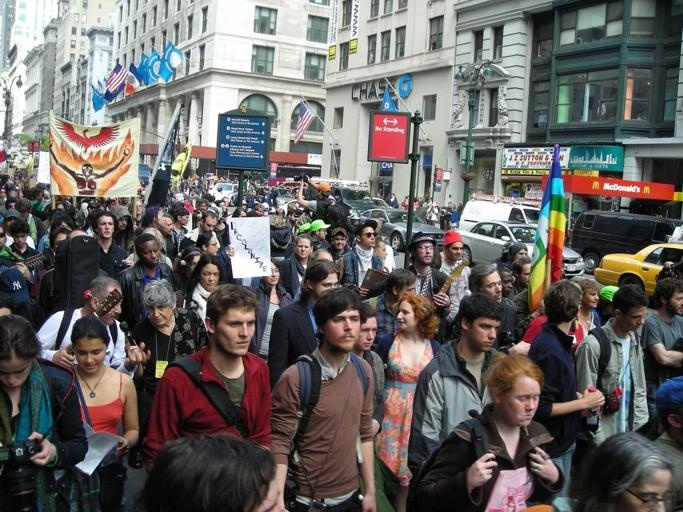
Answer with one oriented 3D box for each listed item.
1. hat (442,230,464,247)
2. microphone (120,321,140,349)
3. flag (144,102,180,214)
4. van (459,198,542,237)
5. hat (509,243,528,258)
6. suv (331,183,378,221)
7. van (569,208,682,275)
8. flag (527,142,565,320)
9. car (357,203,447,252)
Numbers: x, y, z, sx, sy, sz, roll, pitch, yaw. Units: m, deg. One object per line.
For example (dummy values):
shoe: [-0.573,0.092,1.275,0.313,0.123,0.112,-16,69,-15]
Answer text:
hat: [1.624,-0.257,8.975,0.239,0.248,0.354,-1,-7,-6]
microphone: [-1.953,0.737,5.679,0.069,0.236,0.067,-18,16,4]
flag: [-4.431,-2.429,15.597,0.730,0.478,3.816,7,-36,-24]
van: [6.470,-1.720,25.836,2.590,1.510,1.686,2,2,42]
hat: [2.775,-0.086,9.677,0.253,0.261,0.197,9,1,25]
suv: [0.504,-2.593,33.064,1.943,2.275,4.248,6,5,-14]
van: [10.730,-0.598,23.395,3.677,1.999,2.067,3,4,40]
flag: [2.878,-0.301,8.572,0.429,2.652,0.406,19,44,34]
car: [2.591,-1.333,27.524,1.835,1.403,3.847,3,5,-32]
